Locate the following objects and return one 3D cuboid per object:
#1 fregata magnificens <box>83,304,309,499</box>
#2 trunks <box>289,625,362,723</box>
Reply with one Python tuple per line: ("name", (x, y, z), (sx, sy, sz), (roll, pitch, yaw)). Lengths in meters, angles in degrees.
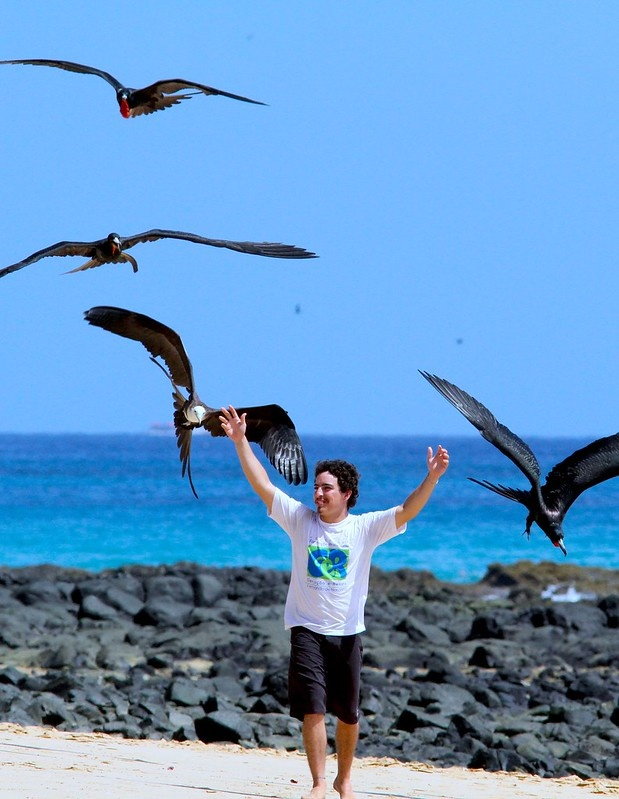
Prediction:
("fregata magnificens", (-0.946, -0.015, 10.167), (0.740, 1.460, 0.363), (-19, -35, -8))
("trunks", (0.095, 1.766, 10.167), (0.477, 0.591, 0.278), (5, -8, -10))
